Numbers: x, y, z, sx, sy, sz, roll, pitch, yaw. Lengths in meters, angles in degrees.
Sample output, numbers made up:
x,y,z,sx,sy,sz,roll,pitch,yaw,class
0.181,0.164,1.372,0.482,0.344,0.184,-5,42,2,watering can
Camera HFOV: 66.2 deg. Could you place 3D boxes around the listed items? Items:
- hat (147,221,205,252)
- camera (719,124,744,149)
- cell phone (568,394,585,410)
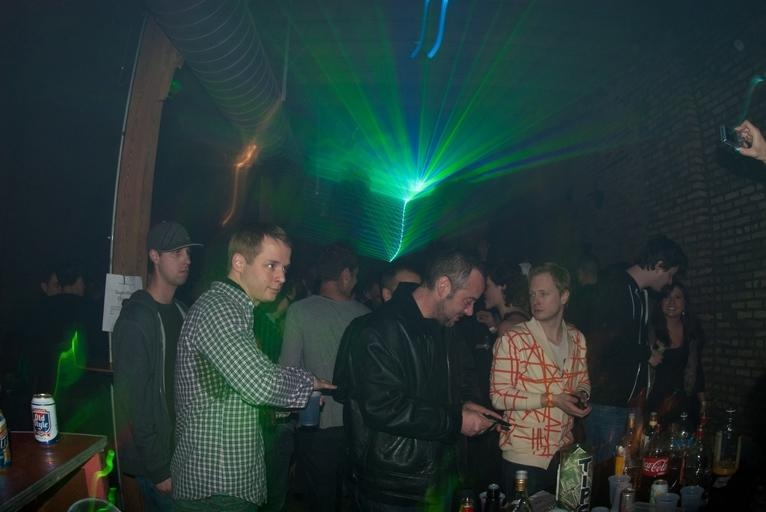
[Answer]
x,y,z,sx,sy,sz,roll,pitch,yaw,class
-1.748,-0.158,4.933,0.319,0.174,0.232,-6,-1,8,hat
2.551,-0.878,4.357,0.196,0.173,0.053,5,-14,-11,camera
1.477,1.133,4.550,0.134,0.032,0.041,43,-30,-2,cell phone
